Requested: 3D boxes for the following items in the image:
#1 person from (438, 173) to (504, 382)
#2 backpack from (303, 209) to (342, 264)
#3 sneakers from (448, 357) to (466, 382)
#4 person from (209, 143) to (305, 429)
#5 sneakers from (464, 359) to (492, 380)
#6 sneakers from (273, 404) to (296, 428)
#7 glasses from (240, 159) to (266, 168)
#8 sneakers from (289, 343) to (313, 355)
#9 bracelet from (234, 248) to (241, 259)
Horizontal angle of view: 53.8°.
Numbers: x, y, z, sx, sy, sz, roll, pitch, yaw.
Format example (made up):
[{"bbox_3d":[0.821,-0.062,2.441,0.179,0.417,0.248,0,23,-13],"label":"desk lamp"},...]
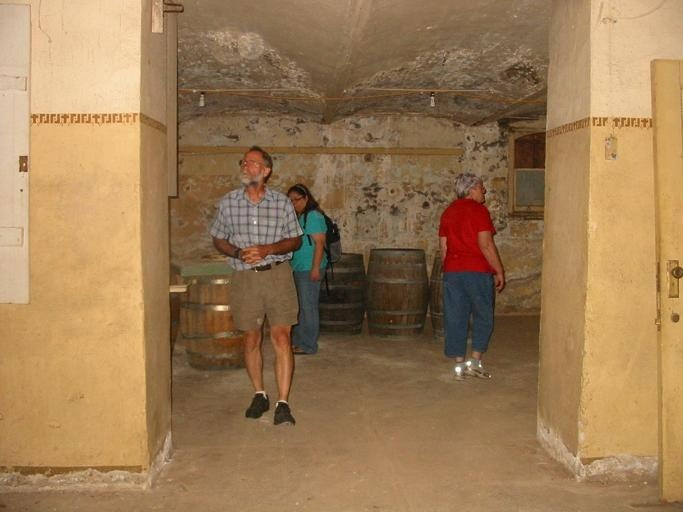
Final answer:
[{"bbox_3d":[1.142,0.162,5.953,0.529,1.794,0.468,1,8,4],"label":"person"},{"bbox_3d":[-0.107,-0.207,7.220,0.597,0.530,0.379,-6,6,-22],"label":"backpack"},{"bbox_3d":[1.035,1.009,5.984,0.182,0.205,0.516,-1,-4,9],"label":"sneakers"},{"bbox_3d":[-0.540,0.198,4.843,0.442,1.970,0.661,-7,11,-43],"label":"person"},{"bbox_3d":[1.256,1.002,5.978,0.312,0.189,0.107,2,2,6],"label":"sneakers"},{"bbox_3d":[-0.404,1.118,4.764,0.157,0.161,0.095,0,8,-4],"label":"sneakers"},{"bbox_3d":[-0.619,-0.662,4.741,0.192,0.047,0.106,0,8,-5],"label":"glasses"},{"bbox_3d":[-0.391,0.930,6.687,0.140,0.128,0.375,0,-2,-14],"label":"sneakers"},{"bbox_3d":[-0.726,-0.025,4.711,0.061,0.054,0.058,2,-1,-10],"label":"bracelet"}]
